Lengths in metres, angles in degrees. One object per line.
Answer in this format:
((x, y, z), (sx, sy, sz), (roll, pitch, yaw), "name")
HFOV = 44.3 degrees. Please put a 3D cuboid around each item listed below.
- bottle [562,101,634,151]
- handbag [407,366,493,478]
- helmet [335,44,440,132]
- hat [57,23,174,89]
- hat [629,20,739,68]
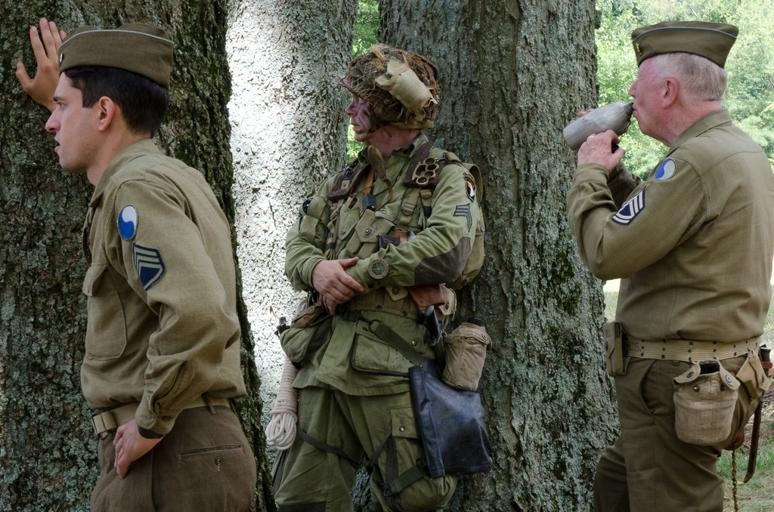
((1.271, -0.774, 5.697), (0.418, 0.208, 0.184), (-28, -29, 18), "bottle")
((0.369, 0.954, 5.609), (0.423, 0.637, 0.333), (-8, 15, -14), "handbag")
((0.026, -0.999, 5.871), (0.554, 0.426, 0.458), (19, 27, -13), "helmet")
((-1.332, -1.004, 4.669), (0.413, 0.204, 0.324), (4, 0, -2), "hat")
((1.691, -1.200, 5.378), (0.406, 0.154, 0.324), (-6, -2, 15), "hat")
